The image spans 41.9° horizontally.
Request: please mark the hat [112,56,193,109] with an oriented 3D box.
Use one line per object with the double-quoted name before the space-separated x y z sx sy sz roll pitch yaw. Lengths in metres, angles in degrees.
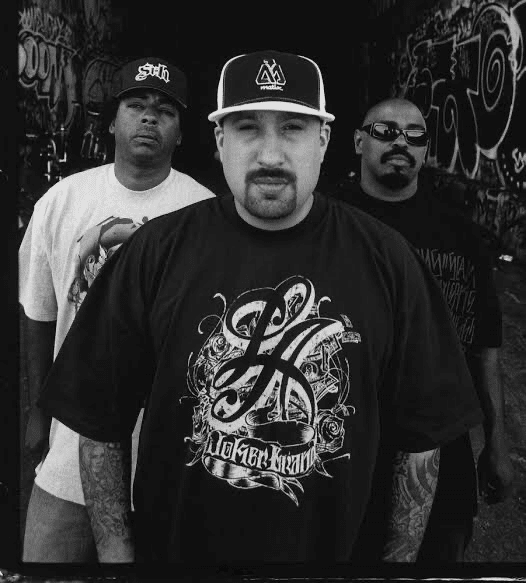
"hat" -0.480 -0.912 2.991 0.316 0.237 0.338 4 7 -29
